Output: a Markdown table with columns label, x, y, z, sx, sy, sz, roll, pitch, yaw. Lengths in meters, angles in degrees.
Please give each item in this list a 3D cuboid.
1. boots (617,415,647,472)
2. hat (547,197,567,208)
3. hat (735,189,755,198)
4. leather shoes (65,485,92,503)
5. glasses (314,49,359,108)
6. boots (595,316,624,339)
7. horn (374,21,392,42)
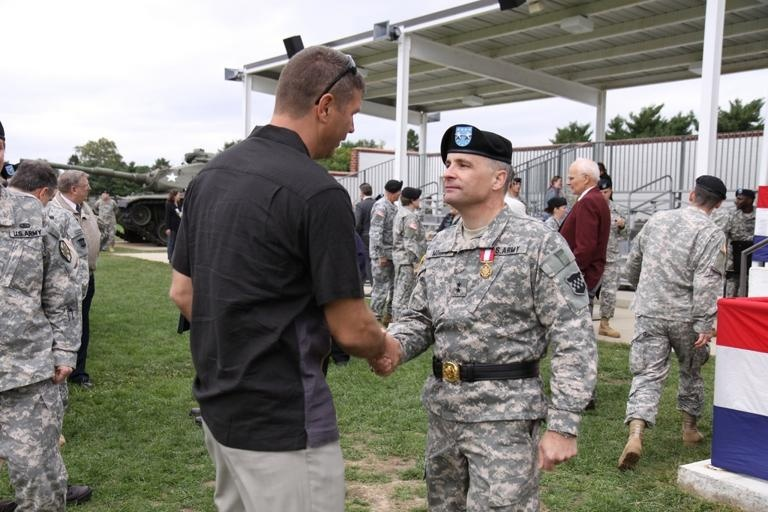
| label | x | y | z | sx | sy | sz | roll | pitch | yaw |
| --- | --- | --- | --- | --- | --- | --- | --- | --- | --- |
| boots | 2.344 | 1.688 | 6.548 | 0.162 | 0.350 | 0.474 | 9 | -19 | 15 |
| hat | 2.684 | -0.840 | 10.849 | 0.220 | 0.143 | 0.159 | -2 | 9 | -5 |
| hat | 6.545 | -1.142 | 12.671 | 0.252 | 0.093 | 0.221 | 5 | -4 | -30 |
| leather shoes | -2.588 | 2.013 | 6.006 | 0.097 | 0.098 | 0.230 | 6 | 7 | 37 |
| glasses | -0.261 | -1.004 | 4.084 | 0.083 | 0.300 | 0.240 | 44 | 7 | -8 |
| boots | 3.591 | 1.167 | 11.318 | 0.190 | 0.365 | 0.533 | 5 | -4 | -44 |
| horn | -0.048 | -5.363 | 16.700 | 0.352 | 0.400 | 0.489 | 2 | 7 | -9 |
